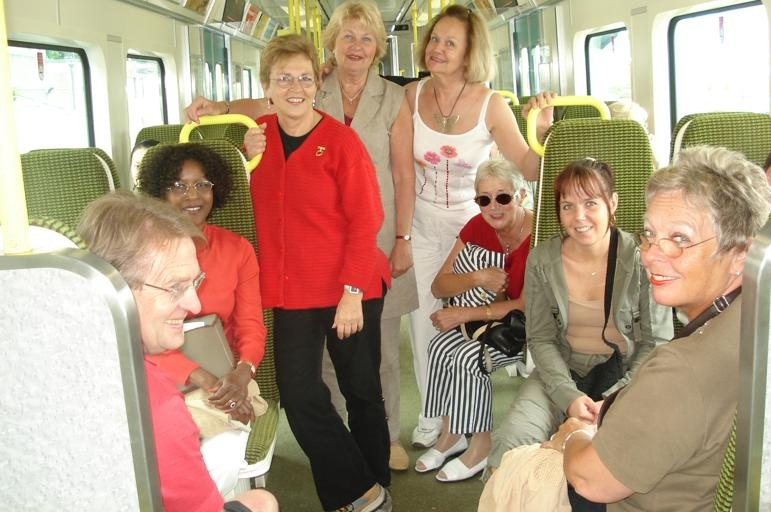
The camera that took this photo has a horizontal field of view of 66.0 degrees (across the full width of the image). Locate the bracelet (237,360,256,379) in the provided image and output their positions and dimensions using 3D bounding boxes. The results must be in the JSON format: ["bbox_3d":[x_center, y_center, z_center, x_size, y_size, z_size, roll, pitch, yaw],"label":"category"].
[{"bbox_3d":[-0.591,0.492,2.524,0.065,0.082,0.040,13,32,14],"label":"bracelet"}]

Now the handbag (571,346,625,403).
[{"bbox_3d":[1.007,0.558,2.858,0.243,0.242,0.103,-43,22,-18],"label":"handbag"}]

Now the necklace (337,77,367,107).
[{"bbox_3d":[-0.198,-0.953,3.469,0.124,0.160,0.040,2,0,10],"label":"necklace"}]

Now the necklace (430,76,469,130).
[{"bbox_3d":[0.388,-0.894,3.532,0.197,0.273,0.093,-1,9,5],"label":"necklace"}]

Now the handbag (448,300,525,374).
[{"bbox_3d":[0.604,0.439,3.229,0.160,0.349,0.345,14,34,-47],"label":"handbag"}]

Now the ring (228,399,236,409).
[{"bbox_3d":[-0.609,0.594,2.363,0.004,0.030,0.032,17,0,43],"label":"ring"}]

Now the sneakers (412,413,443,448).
[{"bbox_3d":[0.236,1.088,3.733,0.087,0.153,0.233,14,18,12],"label":"sneakers"}]

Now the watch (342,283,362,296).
[{"bbox_3d":[-0.149,0.155,2.711,0.044,0.020,0.063,9,-10,26],"label":"watch"}]
